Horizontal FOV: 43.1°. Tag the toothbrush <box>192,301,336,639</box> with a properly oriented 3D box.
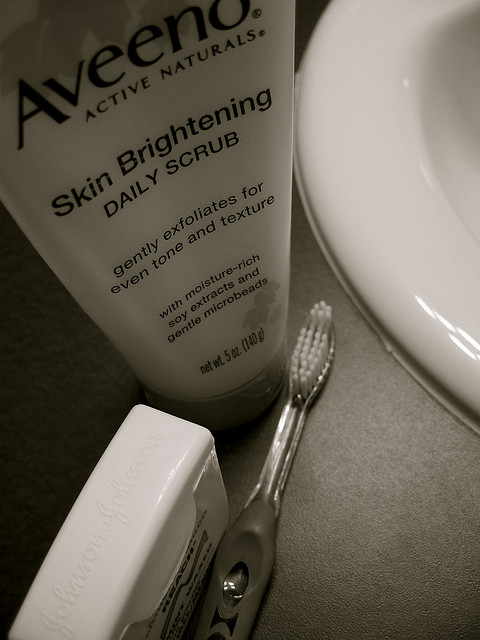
[{"bbox_3d":[0.089,0.015,0.932,0.074,0.125,0.843,7,44,12],"label":"toothbrush"}]
